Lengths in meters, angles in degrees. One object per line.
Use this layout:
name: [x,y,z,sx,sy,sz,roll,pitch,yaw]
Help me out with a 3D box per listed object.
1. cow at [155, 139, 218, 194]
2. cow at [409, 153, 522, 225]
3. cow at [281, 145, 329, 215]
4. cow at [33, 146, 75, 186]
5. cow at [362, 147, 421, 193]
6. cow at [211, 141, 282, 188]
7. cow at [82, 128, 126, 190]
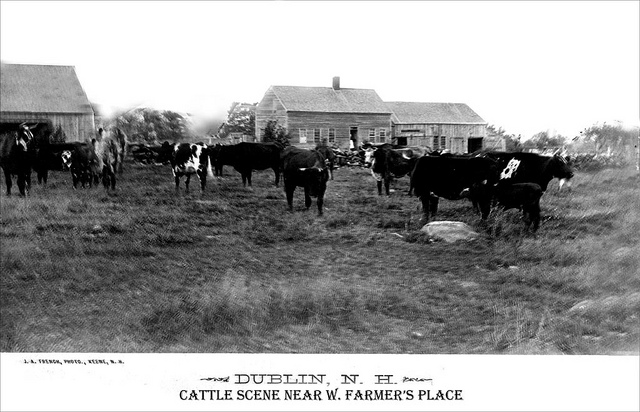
cow: [-2.088,-0.602,8.714,1.078,0.759,0.321,5,8,25]
cow: [2.235,-0.287,8.732,1.811,0.928,0.482,2,-3,39]
cow: [-0.236,-0.392,8.501,0.698,1.006,0.242,0,7,-2]
cow: [-4.218,-0.637,8.790,0.655,0.577,0.280,3,8,20]
cow: [1.143,-0.536,8.915,1.219,0.764,0.383,-9,6,-29]
cow: [-1.116,-0.620,8.630,1.140,0.686,0.289,-5,5,-26]
cow: [-3.344,-0.730,8.614,0.669,0.923,0.424,0,7,-4]
